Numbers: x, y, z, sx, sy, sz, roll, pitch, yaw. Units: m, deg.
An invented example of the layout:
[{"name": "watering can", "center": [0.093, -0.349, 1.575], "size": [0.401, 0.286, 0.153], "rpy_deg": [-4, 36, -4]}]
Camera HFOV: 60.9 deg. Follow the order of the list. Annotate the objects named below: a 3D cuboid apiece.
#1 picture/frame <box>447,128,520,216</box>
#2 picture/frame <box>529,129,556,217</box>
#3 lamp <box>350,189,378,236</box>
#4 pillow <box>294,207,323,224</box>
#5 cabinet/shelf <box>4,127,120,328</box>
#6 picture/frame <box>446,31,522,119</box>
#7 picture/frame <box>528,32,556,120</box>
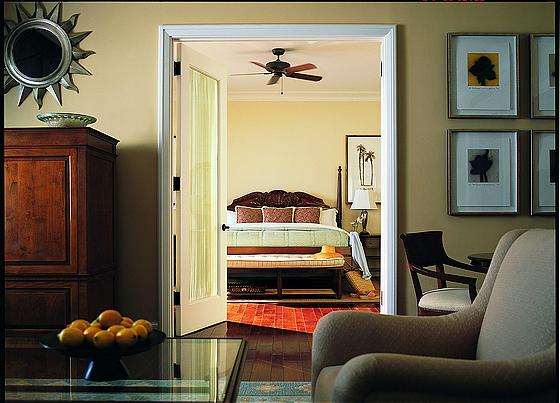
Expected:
[{"name": "picture/frame", "center": [1.628, -0.241, 3.862], "size": [0.736, 0.863, 0.060], "rpy_deg": [0, -4, -2]}, {"name": "picture/frame", "center": [2.133, -0.227, 3.811], "size": [0.219, 0.680, 0.159], "rpy_deg": [-1, 4, -10]}, {"name": "lamp", "center": [1.292, 0.165, 7.320], "size": [0.421, 0.666, 0.406], "rpy_deg": [2, -7, -12]}, {"name": "pillow", "center": [0.407, 0.216, 7.406], "size": [0.298, 0.272, 0.086], "rpy_deg": [0, -20, 4]}, {"name": "cabinet/shelf", "center": [-1.619, 0.178, 3.486], "size": [0.749, 1.417, 0.461], "rpy_deg": [-1, 4, -12]}, {"name": "picture/frame", "center": [1.639, -1.029, 3.854], "size": [0.731, 0.859, 0.059], "rpy_deg": [0, -3, -1]}, {"name": "picture/frame", "center": [2.125, -1.012, 3.844], "size": [0.216, 0.689, 0.083], "rpy_deg": [-1, 4, -12]}]
